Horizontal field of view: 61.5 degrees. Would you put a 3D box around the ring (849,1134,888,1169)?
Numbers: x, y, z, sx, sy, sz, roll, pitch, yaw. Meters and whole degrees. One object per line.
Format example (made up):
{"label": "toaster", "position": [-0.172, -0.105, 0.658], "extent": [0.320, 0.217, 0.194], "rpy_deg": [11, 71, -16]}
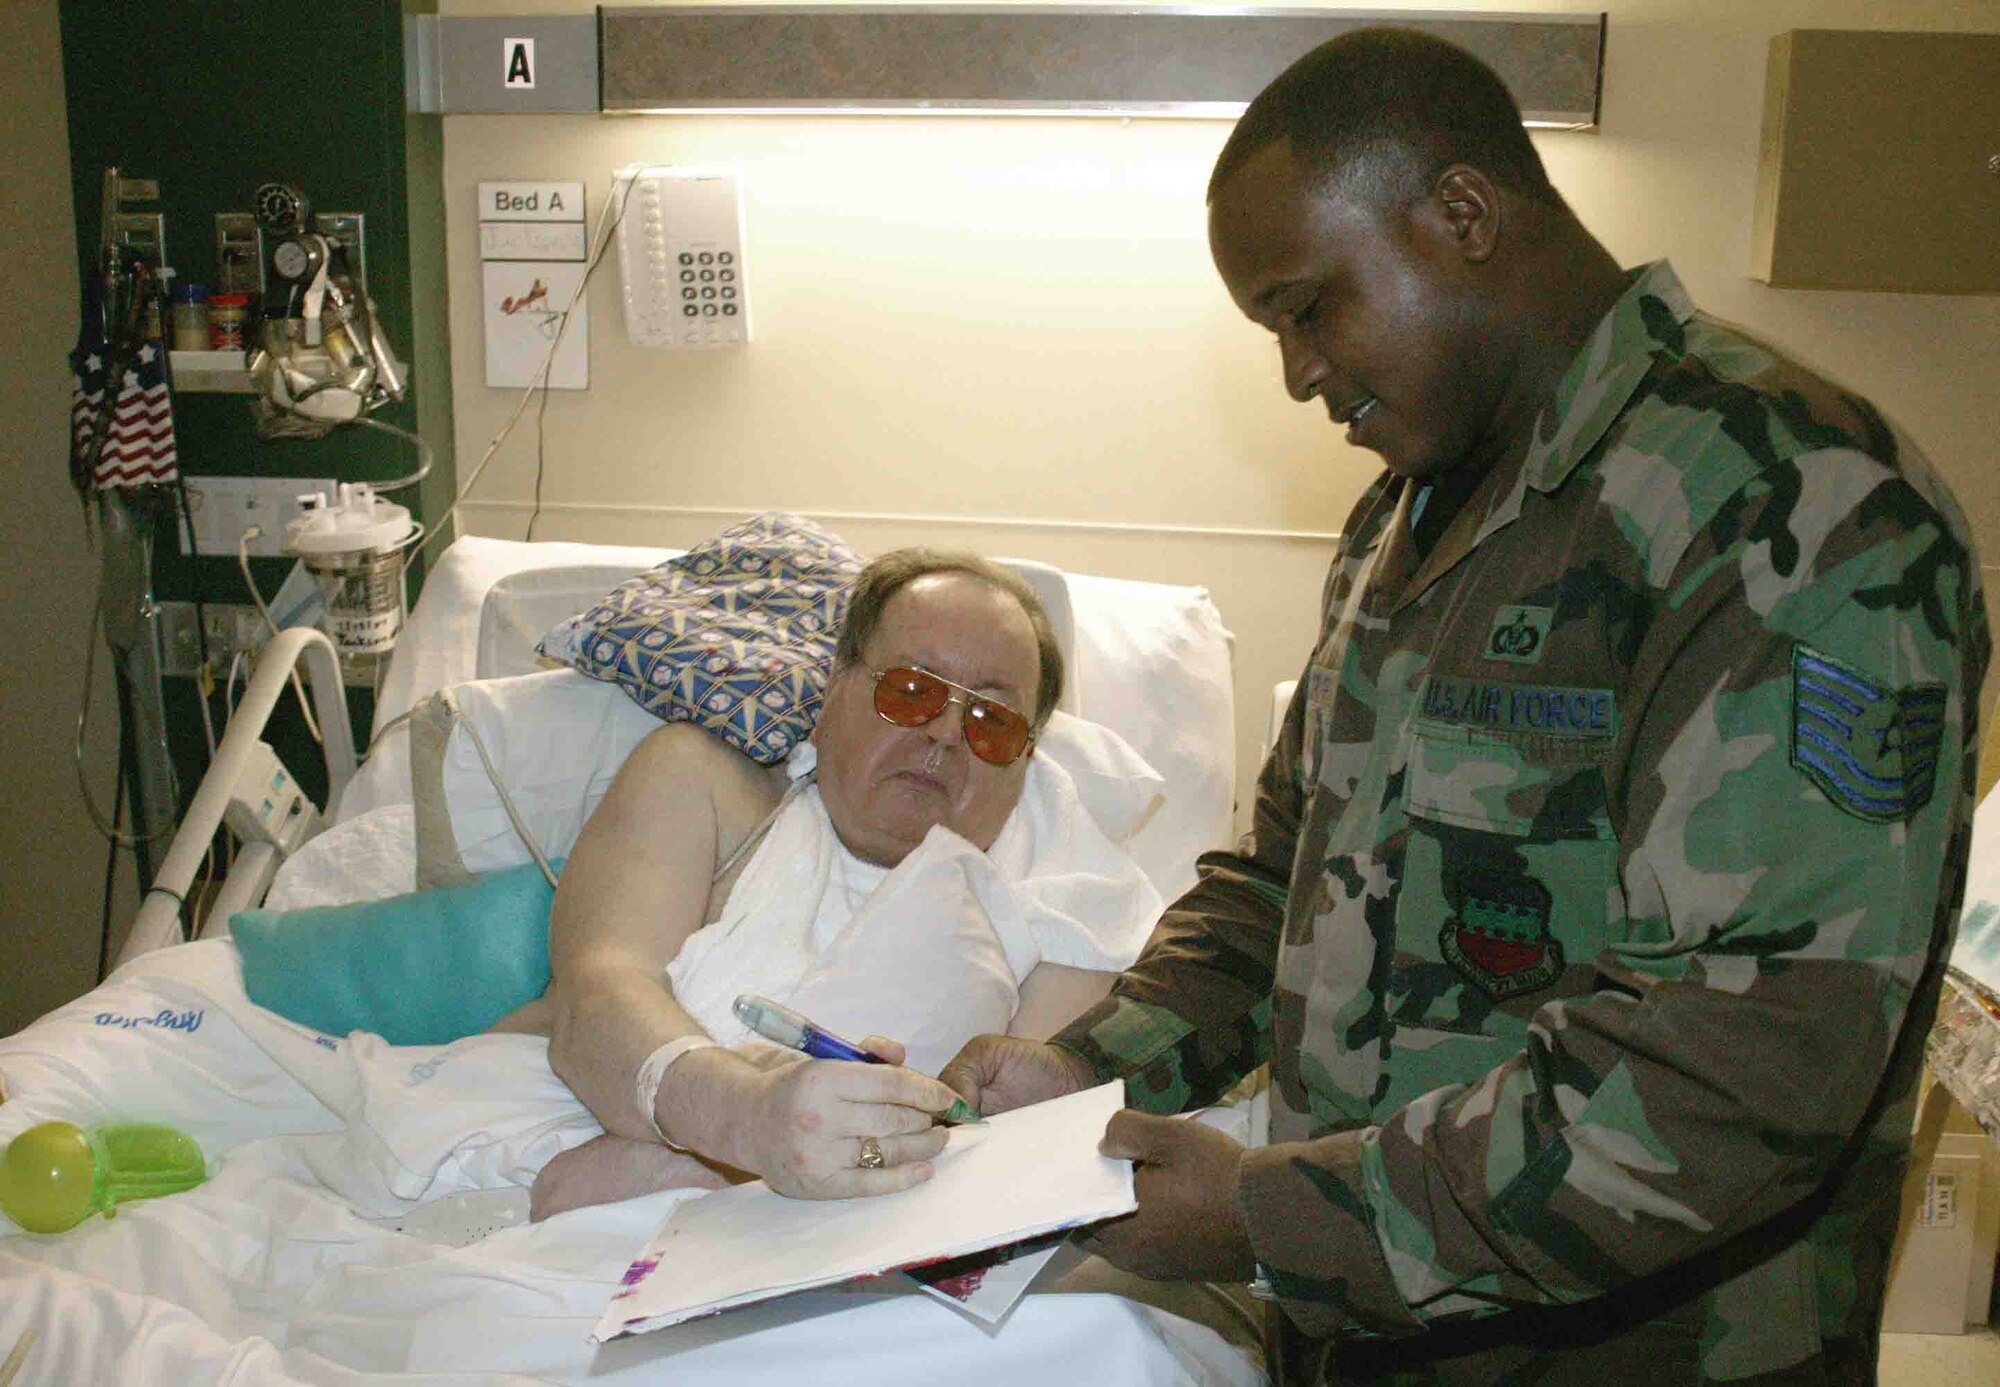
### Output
{"label": "ring", "position": [-0.167, 0.618, 2.227], "extent": [0.042, 0.039, 0.011], "rpy_deg": [6, 11, 13]}

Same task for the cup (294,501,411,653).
{"label": "cup", "position": [-1.463, -0.267, 3.820], "extent": [0.298, 0.393, 0.289], "rpy_deg": [5, 19, -2]}

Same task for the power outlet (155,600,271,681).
{"label": "power outlet", "position": [-1.927, -0.119, 4.054], "extent": [0.212, 0.195, 0.051], "rpy_deg": [1, 0, -9]}

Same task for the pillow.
{"label": "pillow", "position": [-0.471, -0.130, 3.207], "extent": [0.480, 0.127, 0.483], "rpy_deg": [-29, 54, -35]}

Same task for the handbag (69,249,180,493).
{"label": "handbag", "position": [-2.004, -0.761, 3.868], "extent": [0.235, 0.609, 0.076], "rpy_deg": [-3, -6, 3]}

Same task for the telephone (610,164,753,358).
{"label": "telephone", "position": [-0.736, -1.037, 3.998], "extent": [0.290, 0.396, 0.090], "rpy_deg": [0, 12, 0]}
